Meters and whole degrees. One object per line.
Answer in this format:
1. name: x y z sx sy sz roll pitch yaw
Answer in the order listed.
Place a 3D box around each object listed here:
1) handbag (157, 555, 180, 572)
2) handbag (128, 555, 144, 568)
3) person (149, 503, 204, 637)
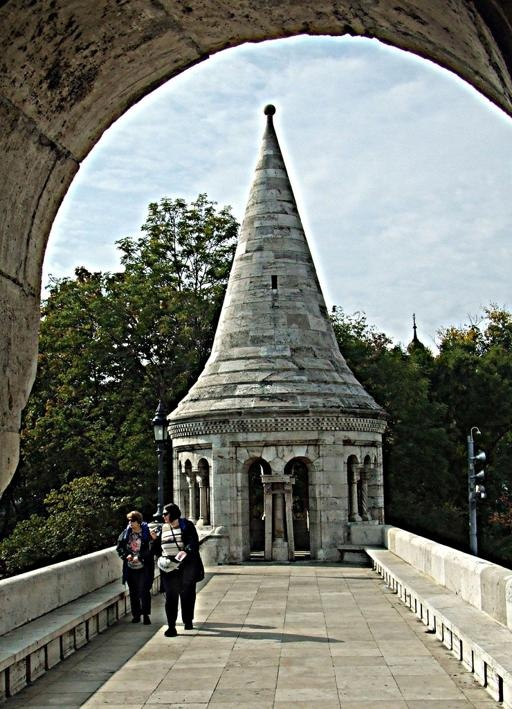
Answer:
1. handbag: -0.761 1.856 8.069 0.152 0.077 0.145 8 -4 17
2. handbag: -1.135 1.958 8.571 0.108 0.048 0.141 18 -3 -34
3. person: -0.697 1.951 8.272 0.442 1.132 0.593 8 -7 -3
